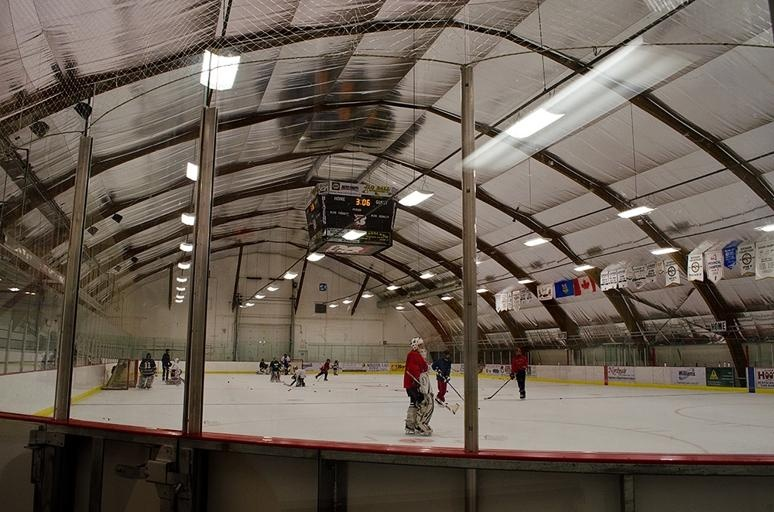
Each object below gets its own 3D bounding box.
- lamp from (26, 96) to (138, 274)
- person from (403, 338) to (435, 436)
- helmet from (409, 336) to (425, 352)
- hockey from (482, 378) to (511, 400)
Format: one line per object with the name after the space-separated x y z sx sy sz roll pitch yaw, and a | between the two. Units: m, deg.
-4.065 -1.002 7.868 1.420 2.148 0.524 -7 16 14 | lamp
0.477 1.965 8.612 0.428 1.405 0.734 -1 -5 3 | person
0.460 1.397 8.837 0.245 0.223 0.190 -29 7 8 | helmet
3.242 3.833 16.372 0.540 0.341 3.062 -9 -14 15 | hockey
